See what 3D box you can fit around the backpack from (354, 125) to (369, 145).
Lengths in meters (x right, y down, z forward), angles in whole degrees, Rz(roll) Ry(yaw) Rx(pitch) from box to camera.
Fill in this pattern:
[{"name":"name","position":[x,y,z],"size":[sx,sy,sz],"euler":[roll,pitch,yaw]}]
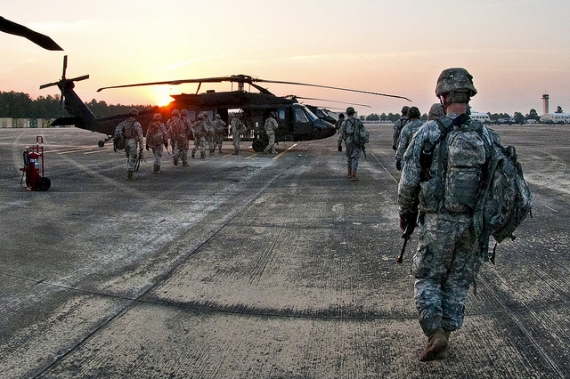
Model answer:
[{"name":"backpack","position":[2.356,-1.709,12.093],"size":[0.528,0.627,0.288],"euler":[-9,-14,24]}]

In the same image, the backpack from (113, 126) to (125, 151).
[{"name":"backpack","position":[-5.429,-1.665,12.743],"size":[0.302,0.720,0.488],"euler":[-16,19,-34]}]

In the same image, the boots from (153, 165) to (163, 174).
[{"name":"boots","position":[-4.461,-0.728,13.692],"size":[0.227,0.369,0.410],"euler":[5,13,14]}]

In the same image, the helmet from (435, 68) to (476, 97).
[{"name":"helmet","position":[1.548,-0.927,3.533],"size":[0.326,0.277,0.343],"euler":[-1,4,-11]}]

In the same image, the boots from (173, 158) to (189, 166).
[{"name":"boots","position":[-4.134,-1.158,15.797],"size":[0.487,0.312,0.690],"euler":[-5,-7,35]}]

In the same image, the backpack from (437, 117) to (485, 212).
[{"name":"backpack","position":[1.446,-0.179,3.213],"size":[0.312,0.707,0.337],"euler":[1,-2,1]}]

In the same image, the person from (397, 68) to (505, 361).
[{"name":"person","position":[1.502,0.223,3.652],"size":[1.041,2.456,1.219],"euler":[4,3,27]}]

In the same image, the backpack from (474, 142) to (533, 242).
[{"name":"backpack","position":[1.797,0.009,3.440],"size":[0.522,0.783,0.672],"euler":[1,-1,5]}]
